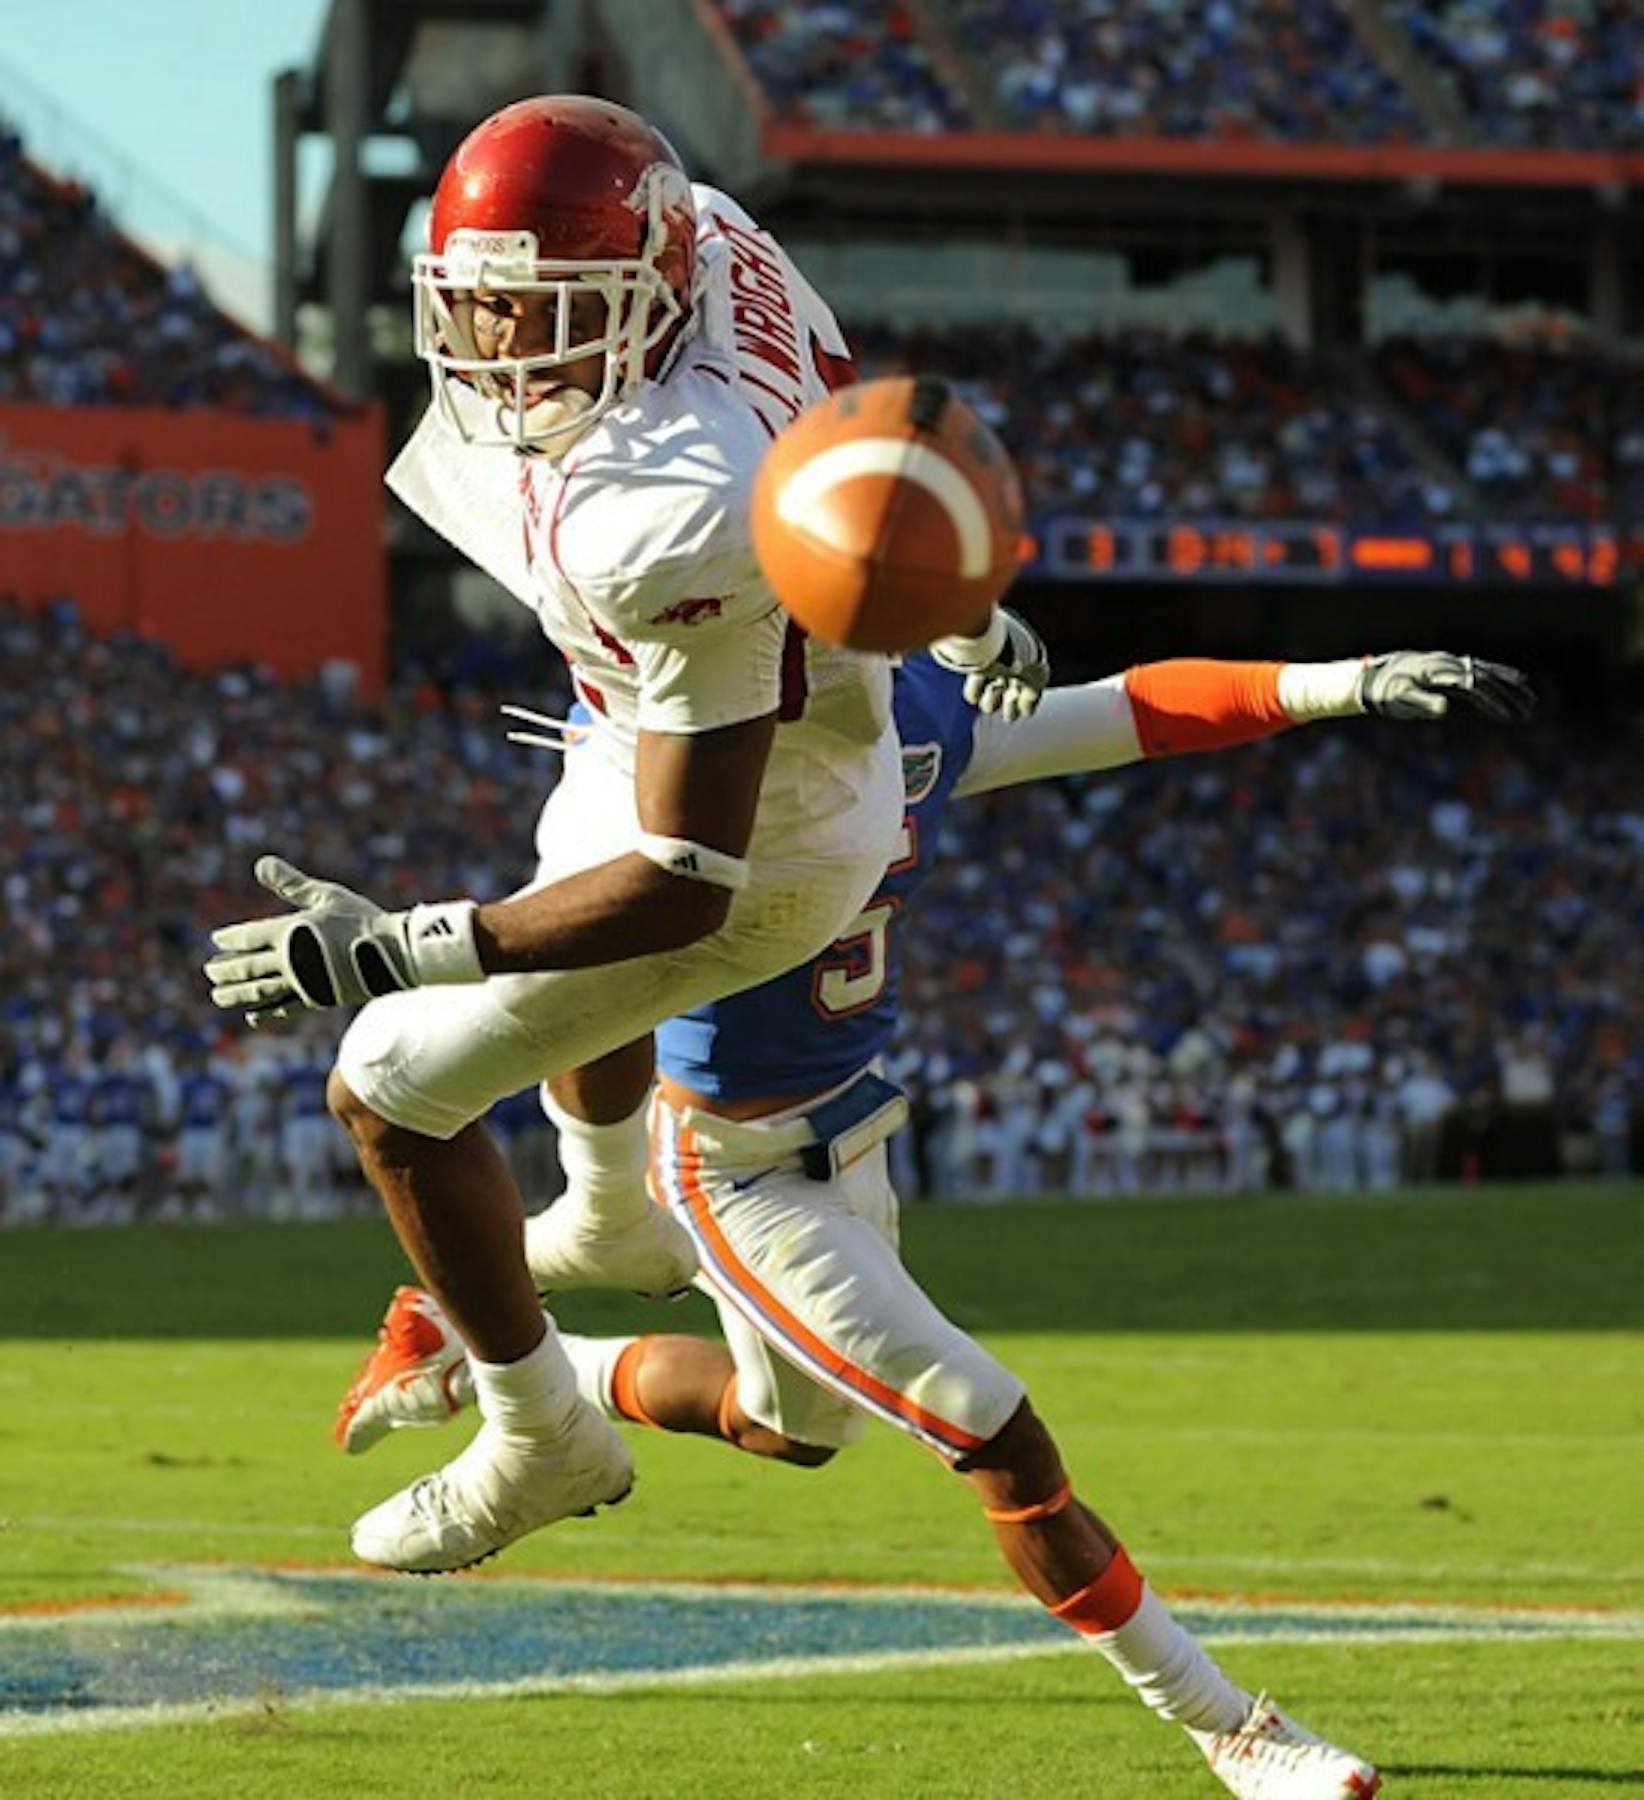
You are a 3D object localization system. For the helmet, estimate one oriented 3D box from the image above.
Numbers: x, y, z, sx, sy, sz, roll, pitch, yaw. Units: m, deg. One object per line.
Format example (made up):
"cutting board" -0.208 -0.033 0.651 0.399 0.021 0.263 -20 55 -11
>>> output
"helmet" -0.355 -0.911 5.035 0.457 0.398 0.489 5 24 22

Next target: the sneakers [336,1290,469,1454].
"sneakers" -0.694 0.761 5.648 0.356 0.156 0.122 -35 8 48

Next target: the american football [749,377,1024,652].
"american football" 0.080 -0.492 4.553 0.386 0.334 0.256 3 9 -1

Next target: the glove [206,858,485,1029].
"glove" -0.632 0.052 4.897 0.427 0.226 0.291 -1 5 9

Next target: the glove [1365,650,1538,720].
"glove" 0.941 -0.302 5.357 0.223 0.056 0.122 13 41 19

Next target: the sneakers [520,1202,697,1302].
"sneakers" -0.332 0.550 5.610 0.321 0.077 0.252 7 -17 0

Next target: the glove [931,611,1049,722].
"glove" 0.257 -0.348 5.303 0.168 0.069 0.191 -16 -32 14
